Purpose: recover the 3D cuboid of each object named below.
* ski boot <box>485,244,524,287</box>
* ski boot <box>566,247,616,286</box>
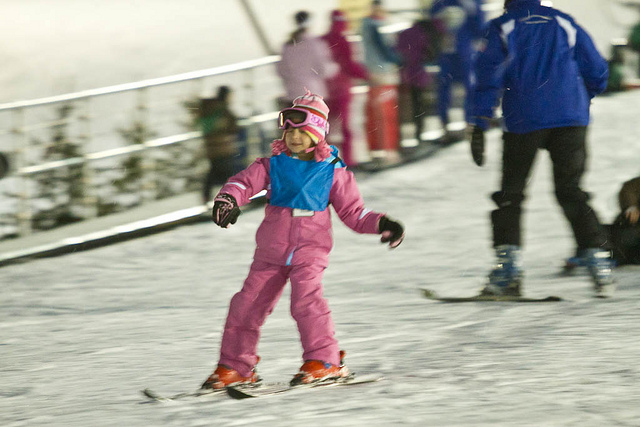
[{"bbox_3d":[1.724,0.481,10.591,0.307,0.385,0.114,9,-5,15],"label":"ski boot"},{"bbox_3d":[2.468,0.480,10.437,0.419,0.297,0.139,3,9,39],"label":"ski boot"}]
